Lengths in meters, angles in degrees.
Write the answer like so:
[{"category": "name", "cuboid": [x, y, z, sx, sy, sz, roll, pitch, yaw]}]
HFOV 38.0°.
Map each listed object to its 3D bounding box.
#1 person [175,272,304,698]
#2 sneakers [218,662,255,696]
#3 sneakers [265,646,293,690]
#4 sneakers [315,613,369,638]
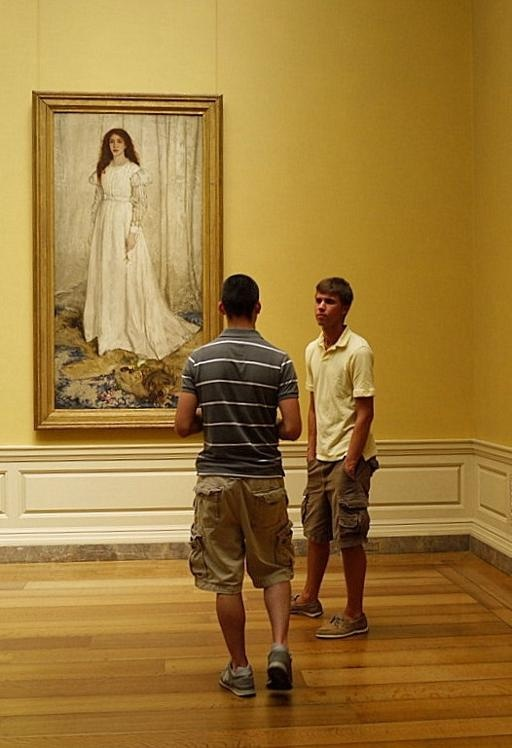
[{"category": "person", "cuboid": [-0.075, 0.540, 2.873, 0.476, 1.430, 0.259, 0, 2, -5]}, {"category": "sneakers", "cuboid": [-0.062, 1.197, 2.888, 0.067, 0.080, 0.182, 0, 2, -12]}, {"category": "sneakers", "cuboid": [0.086, 1.133, 2.831, 0.091, 0.184, 0.111, 0, 2, 0]}, {"category": "sneakers", "cuboid": [0.404, 1.205, 3.555, 0.250, 0.107, 0.098, 0, -12, -16]}]
